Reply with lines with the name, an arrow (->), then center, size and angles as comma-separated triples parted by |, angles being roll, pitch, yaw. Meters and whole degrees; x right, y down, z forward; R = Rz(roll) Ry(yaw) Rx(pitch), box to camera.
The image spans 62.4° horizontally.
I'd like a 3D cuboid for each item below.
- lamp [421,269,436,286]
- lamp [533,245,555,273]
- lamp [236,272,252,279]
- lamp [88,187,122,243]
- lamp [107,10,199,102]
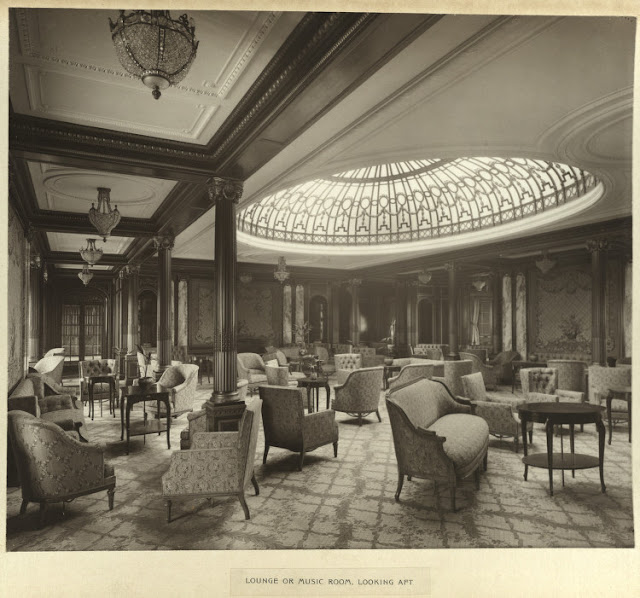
lamp -> 3.329, -0.742, 16.457 | 0.491, 0.522, 0.570 | -3, -9, 14
lamp -> 5.237, -0.958, 12.370 | 0.426, 0.784, 0.457 | -3, -6, 28
lamp -> -2.373, -0.689, 16.881 | 0.424, 0.141, 1.505 | -3, -4, -9
lamp -> -2.963, -1.138, 7.255 | 0.329, 0.807, 0.372 | 0, -18, -22
lamp -> -1.135, -1.600, 3.832 | 0.536, 0.755, 0.601 | 0, 0, 0
